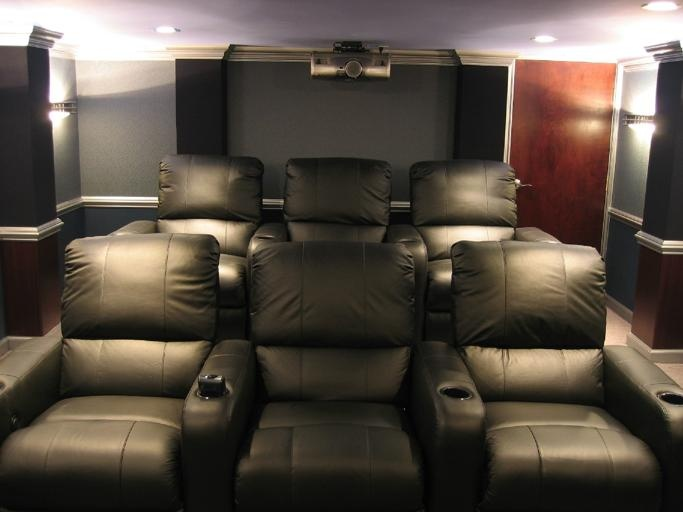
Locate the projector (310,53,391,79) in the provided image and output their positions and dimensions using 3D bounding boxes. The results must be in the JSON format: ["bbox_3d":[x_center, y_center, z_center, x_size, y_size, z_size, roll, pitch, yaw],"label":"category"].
[{"bbox_3d":[0.063,-1.593,5.158,0.705,0.206,0.398,2,11,1],"label":"projector"}]
